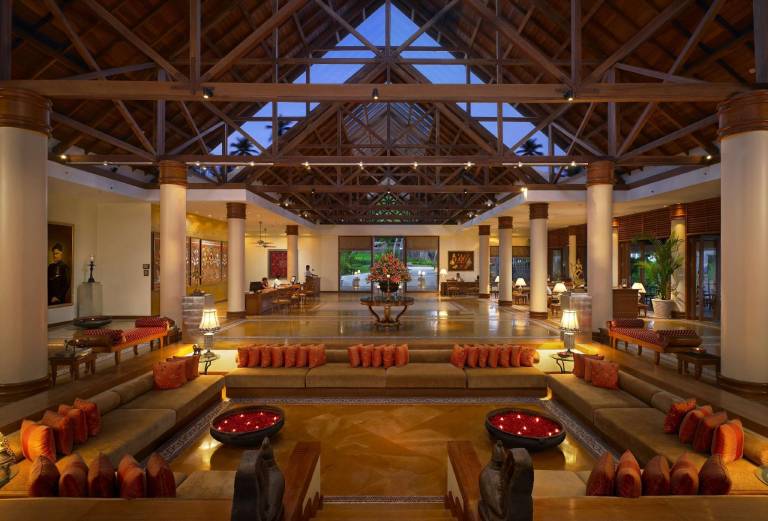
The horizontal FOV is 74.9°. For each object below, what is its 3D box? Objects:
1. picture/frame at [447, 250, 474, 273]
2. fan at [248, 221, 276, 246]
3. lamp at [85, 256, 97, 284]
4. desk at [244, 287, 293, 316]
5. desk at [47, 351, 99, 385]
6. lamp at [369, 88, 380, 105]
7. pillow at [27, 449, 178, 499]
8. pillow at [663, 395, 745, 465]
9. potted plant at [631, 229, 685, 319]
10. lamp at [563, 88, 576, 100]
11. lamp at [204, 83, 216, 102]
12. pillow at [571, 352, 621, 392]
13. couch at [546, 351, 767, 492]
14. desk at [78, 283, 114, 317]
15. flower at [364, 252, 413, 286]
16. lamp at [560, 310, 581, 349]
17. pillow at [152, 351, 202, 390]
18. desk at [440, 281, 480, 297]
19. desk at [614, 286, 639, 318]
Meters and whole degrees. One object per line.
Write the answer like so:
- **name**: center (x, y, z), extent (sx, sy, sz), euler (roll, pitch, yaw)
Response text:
- **picture/frame**: center (3.993, -0.017, 26.263), extent (1.369, 0.897, 0.096), euler (0, -3, -3)
- **fan**: center (-5.953, -1.105, 24.757), extent (1.383, 1.199, 1.185), euler (-2, -9, -6)
- **lamp**: center (-8.974, 0.295, 15.314), extent (0.299, 0.801, 0.607), euler (-8, 12, -29)
- **desk**: center (-3.912, 1.404, 17.520), extent (1.184, 1.026, 2.334), euler (0, 9, 5)
- **desk**: center (-6.396, 2.343, 10.278), extent (0.674, 0.528, 1.155), euler (1, -5, -4)
- **lamp**: center (-0.163, -3.354, 10.078), extent (0.177, 0.241, 0.070), euler (-3, 11, -8)
- **pillow**: center (-3.801, 3.005, 6.926), extent (1.026, 0.352, 1.026), euler (4, -8, -19)
- **pillow**: center (4.969, 2.608, 7.792), extent (0.917, 0.842, 0.428), euler (8, -22, 36)
- **potted plant**: center (9.057, 0.377, 16.447), extent (1.268, 2.698, 3.936), euler (4, 11, 27)
- **lamp**: center (3.701, -3.331, 9.960), extent (0.260, 0.218, 0.059), euler (3, 3, 11)
- **lamp**: center (-3.464, -3.337, 9.853), extent (0.221, 0.239, 0.265), euler (0, -9, -5)
- **pillow**: center (4.194, 2.156, 9.755), extent (0.660, 0.602, 0.266), euler (8, -9, 40)
- **couch**: center (4.353, 3.220, 8.549), extent (1.192, 0.717, 3.702), euler (4, 3, -7)
- **desk**: center (-9.080, 1.208, 15.840), extent (1.120, 1.119, 1.124), euler (-5, -6, 35)
- **flower**: center (0.098, 0.187, 14.659), extent (1.036, 0.917, 0.969), euler (0, 0, -7)
- **lamp**: center (4.005, 1.513, 10.821), extent (0.324, 0.842, 0.516), euler (1, 10, 13)
- **pillow**: center (-4.096, 2.166, 9.736), extent (0.680, 0.574, 0.185), euler (4, -21, -29)
- **desk**: center (3.666, 1.305, 24.351), extent (1.790, 0.715, 0.638), euler (-1, 10, -2)
- **desk**: center (6.944, 1.235, 14.414), extent (0.607, 0.800, 0.874), euler (4, 11, 28)
